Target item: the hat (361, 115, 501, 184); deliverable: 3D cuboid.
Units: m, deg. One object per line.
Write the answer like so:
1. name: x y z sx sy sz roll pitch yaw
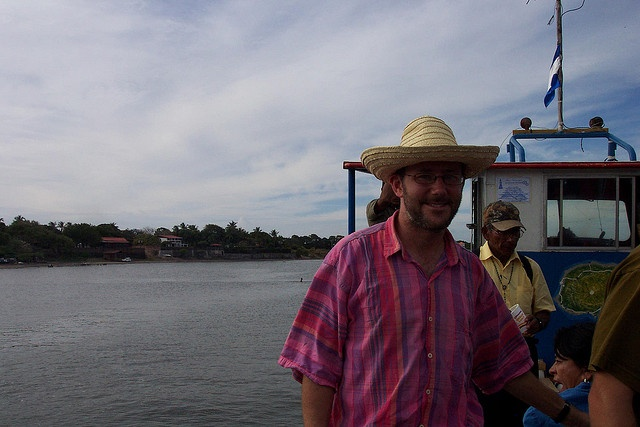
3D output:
1. hat: 0.701 -0.424 3.623 0.788 0.305 0.876 0 -19 5

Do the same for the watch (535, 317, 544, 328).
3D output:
1. watch: 2.124 1.056 5.348 0.091 0.097 0.039 10 -29 -21

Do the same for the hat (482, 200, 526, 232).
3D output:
1. hat: 1.811 0.013 5.550 0.280 0.207 0.375 2 -3 -8
